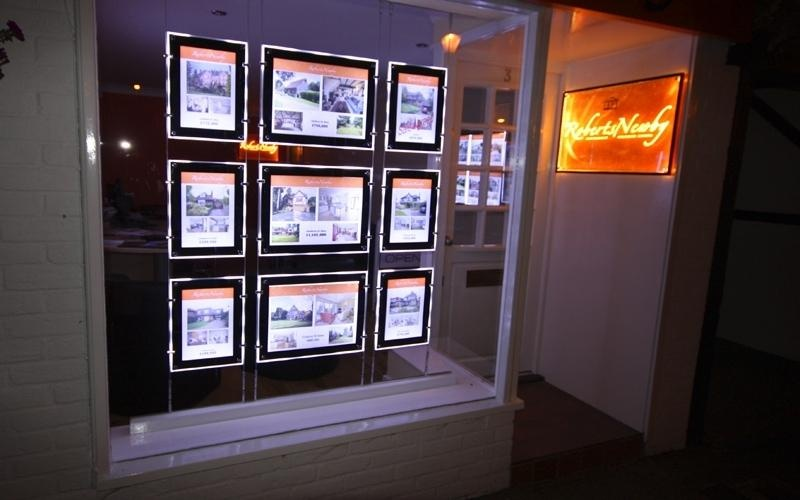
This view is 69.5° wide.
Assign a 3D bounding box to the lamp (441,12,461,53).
[{"bbox_3d":[0.334,-1.439,3.838,0.163,0.232,0.146,-1,15,-8],"label":"lamp"}]
